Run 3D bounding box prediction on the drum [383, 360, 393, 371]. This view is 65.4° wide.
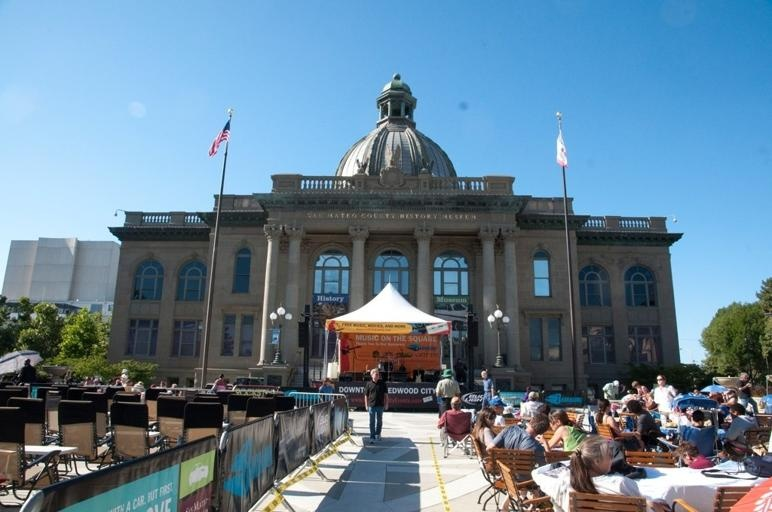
[{"bbox_3d":[0.112,6.028,33.609,0.691,0.670,0.400,0,-5,7],"label":"drum"}]

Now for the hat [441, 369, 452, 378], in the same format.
[{"bbox_3d":[2.874,5.463,28.314,0.465,0.231,0.624,2,-10,9],"label":"hat"}]
